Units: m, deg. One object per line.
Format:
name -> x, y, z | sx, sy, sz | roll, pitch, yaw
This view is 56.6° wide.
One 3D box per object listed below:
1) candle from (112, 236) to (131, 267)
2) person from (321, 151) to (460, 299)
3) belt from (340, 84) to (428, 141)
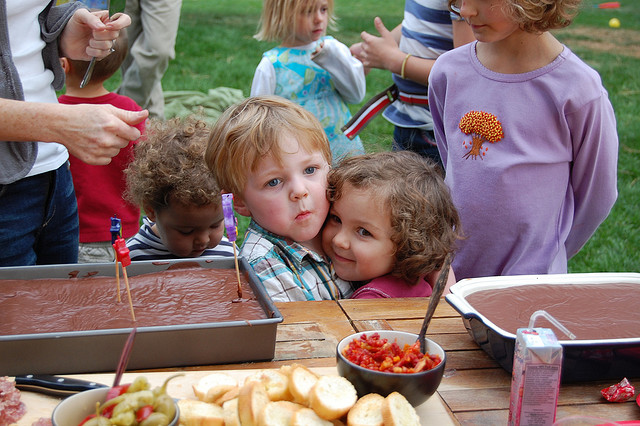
candle -> -0.797, 0.155, 2.383 | 0.047, 0.120, 0.095 | -11, 32, -25
person -> 0.361, 0.094, 3.182 | 0.747, 0.932, 0.722 | 0, 18, -14
belt -> 0.455, -0.701, 4.200 | 0.553, 0.365, 0.201 | 1, 29, -6
